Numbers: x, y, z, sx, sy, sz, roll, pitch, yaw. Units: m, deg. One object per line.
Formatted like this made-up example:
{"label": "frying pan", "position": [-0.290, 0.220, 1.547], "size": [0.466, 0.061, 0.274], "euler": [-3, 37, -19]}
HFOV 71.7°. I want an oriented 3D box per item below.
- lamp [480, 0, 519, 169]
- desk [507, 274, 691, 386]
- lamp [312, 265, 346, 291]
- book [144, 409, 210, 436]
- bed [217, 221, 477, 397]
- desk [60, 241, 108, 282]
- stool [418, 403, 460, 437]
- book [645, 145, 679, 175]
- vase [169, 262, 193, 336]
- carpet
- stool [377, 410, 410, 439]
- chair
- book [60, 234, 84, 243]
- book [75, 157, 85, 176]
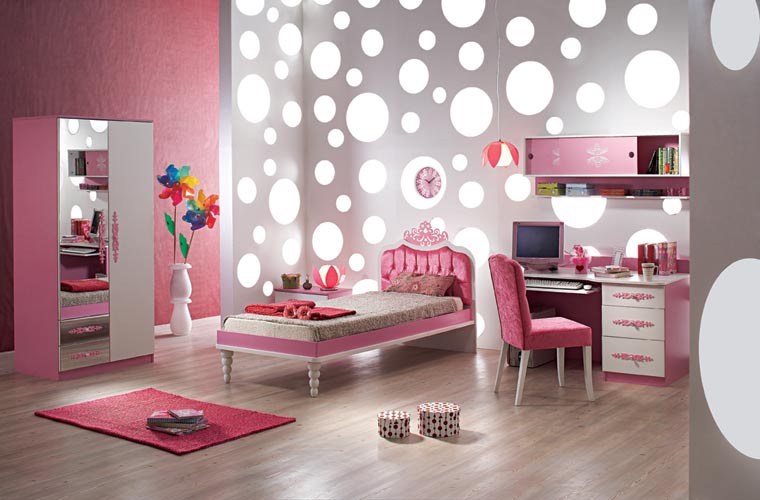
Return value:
{"label": "lamp", "position": [1.457, -2.038, 6.308], "size": [0.442, 2.074, 0.590], "euler": [1, 5, 14]}
{"label": "desk", "position": [2.297, 0.805, 5.870], "size": [1.577, 0.999, 0.867], "euler": [2, 6, 33]}
{"label": "lamp", "position": [-0.668, 0.371, 7.494], "size": [0.385, 0.292, 0.342], "euler": [2, 3, 17]}
{"label": "book", "position": [-1.560, 1.371, 4.210], "size": [0.250, 0.074, 0.251], "euler": [2, -3, 1]}
{"label": "bed", "position": [-0.273, 0.560, 6.258], "size": [1.653, 1.771, 2.886], "euler": [0, 2, 40]}
{"label": "desk", "position": [-3.102, 0.133, 5.700], "size": [0.329, 0.439, 0.462], "euler": [0, 0, 34]}
{"label": "stool", "position": [0.481, 1.359, 4.234], "size": [0.244, 0.142, 0.243], "euler": [0, 1, 1]}
{"label": "book", "position": [2.974, -0.900, 5.674], "size": [0.277, 0.364, 0.383], "euler": [3, 2, 36]}
{"label": "vase", "position": [-2.746, 0.680, 7.535], "size": [0.266, 1.006, 0.456], "euler": [-2, 5, -21]}
{"label": "carpet", "position": [-1.746, 1.408, 4.505], "size": [1.972, 0.057, 0.929], "euler": [2, 5, 26]}
{"label": "stool", "position": [0.138, 1.386, 4.217], "size": [0.239, 0.164, 0.287], "euler": [2, 5, 25]}
{"label": "chair", "position": [1.494, 0.718, 5.036], "size": [0.858, 1.354, 0.560], "euler": [-1, 5, -10]}
{"label": "book", "position": [-3.112, -0.112, 5.523], "size": [0.211, 0.088, 0.024], "euler": [-4, 6, -39]}
{"label": "book", "position": [-3.046, -0.884, 5.564], "size": [0.088, 0.189, 0.026], "euler": [-4, 6, -35]}
